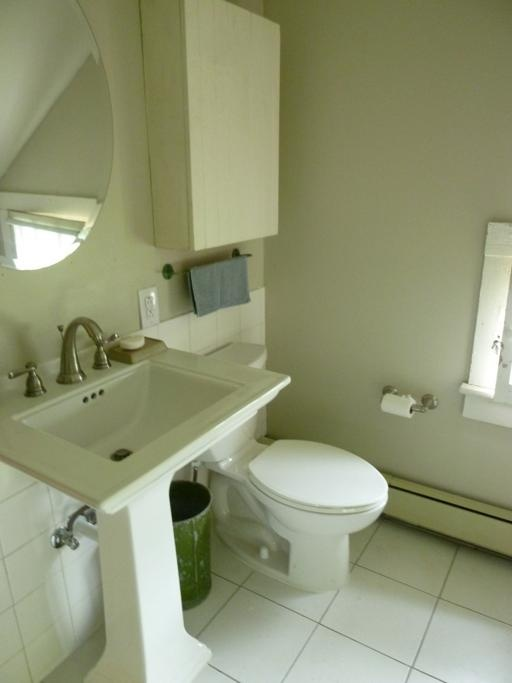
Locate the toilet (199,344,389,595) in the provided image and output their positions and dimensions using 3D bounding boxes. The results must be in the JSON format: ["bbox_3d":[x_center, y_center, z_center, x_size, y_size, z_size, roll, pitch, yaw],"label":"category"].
[{"bbox_3d":[0.104,0.417,1.729,0.645,0.740,0.319,13,22,34],"label":"toilet"}]

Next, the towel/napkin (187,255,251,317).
[{"bbox_3d":[-0.136,-0.185,1.798,0.094,0.199,0.308,7,15,25],"label":"towel/napkin"}]

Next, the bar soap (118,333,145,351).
[{"bbox_3d":[-0.332,0.003,1.412,0.066,0.029,0.079,4,15,14],"label":"bar soap"}]

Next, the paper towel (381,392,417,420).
[{"bbox_3d":[0.498,0.222,1.846,0.118,0.085,0.082,5,42,46],"label":"paper towel"}]
